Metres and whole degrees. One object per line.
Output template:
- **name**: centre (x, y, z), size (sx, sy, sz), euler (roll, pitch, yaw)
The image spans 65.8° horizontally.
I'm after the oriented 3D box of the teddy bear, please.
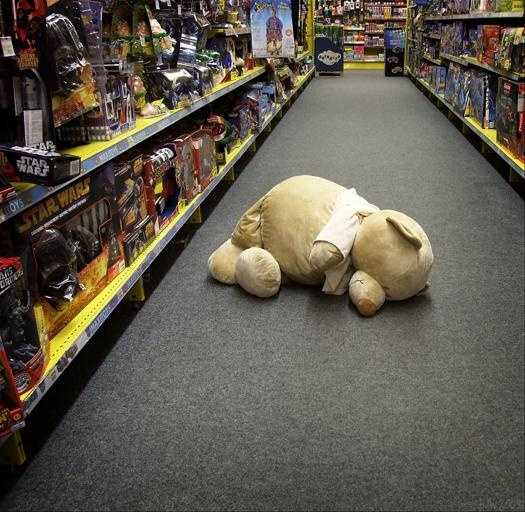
- **teddy bear**: centre (0.325, -0.119, 2.048), size (0.901, 0.606, 0.655), euler (10, 11, 22)
